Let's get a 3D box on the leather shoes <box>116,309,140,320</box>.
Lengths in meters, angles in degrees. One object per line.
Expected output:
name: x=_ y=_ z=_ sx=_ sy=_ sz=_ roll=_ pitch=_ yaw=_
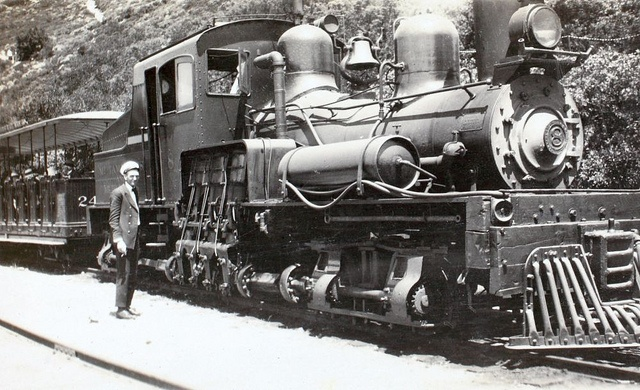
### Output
leather shoes: x=-3.476 y=2.134 z=9.297 sx=0.426 sy=0.284 sz=0.143 roll=-6 pitch=-5 yaw=13

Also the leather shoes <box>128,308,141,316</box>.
leather shoes: x=-3.394 y=2.117 z=9.441 sx=0.130 sy=0.051 sz=0.173 roll=1 pitch=2 yaw=-36

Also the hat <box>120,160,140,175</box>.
hat: x=-3.615 y=-0.528 z=9.885 sx=0.340 sy=0.139 sz=0.365 roll=23 pitch=45 yaw=35
